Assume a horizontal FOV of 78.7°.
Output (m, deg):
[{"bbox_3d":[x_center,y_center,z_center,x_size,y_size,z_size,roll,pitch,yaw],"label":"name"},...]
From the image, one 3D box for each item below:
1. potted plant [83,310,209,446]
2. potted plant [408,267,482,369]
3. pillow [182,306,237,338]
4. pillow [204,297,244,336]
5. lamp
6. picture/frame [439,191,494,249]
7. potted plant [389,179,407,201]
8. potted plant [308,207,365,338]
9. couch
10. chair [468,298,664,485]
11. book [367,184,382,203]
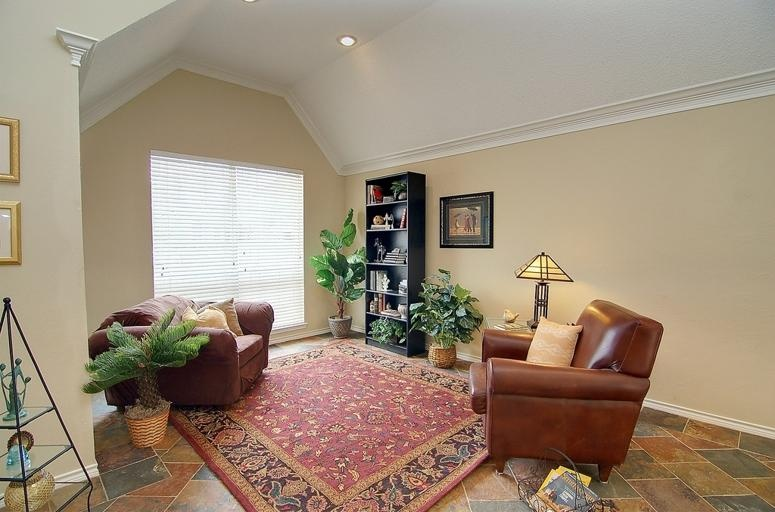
[{"bbox_3d":[-2.291,1.164,4.554,1.185,1.190,1.119,1,0,-1],"label":"potted plant"},{"bbox_3d":[0.711,0.759,6.188,1.064,1.142,1.172,7,9,43],"label":"potted plant"},{"bbox_3d":[-1.943,0.666,5.096,0.381,0.128,0.430,9,2,-15],"label":"pillow"},{"bbox_3d":[-1.855,0.726,5.449,0.421,0.395,0.125,-20,2,-35],"label":"pillow"},{"bbox_3d":[1.726,0.341,5.645,0.745,1.133,0.730,1,4,3],"label":"lamp"},{"bbox_3d":[1.024,-0.459,6.009,0.779,0.710,0.060,3,4,42],"label":"picture/frame"},{"bbox_3d":[0.156,-0.888,6.407,0.293,0.285,0.291,-3,3,-44],"label":"potted plant"},{"bbox_3d":[-0.761,0.253,7.183,0.788,1.875,0.790,1,10,-6],"label":"potted plant"},{"bbox_3d":[-2.110,1.090,5.104,1.265,0.869,1.590,1,5,2],"label":"couch"},{"bbox_3d":[1.463,1.195,4.606,1.613,1.531,1.472,1,3,9],"label":"chair"},{"bbox_3d":[-0.205,-0.871,6.699,0.101,0.273,0.287,0,1,40],"label":"book"}]
